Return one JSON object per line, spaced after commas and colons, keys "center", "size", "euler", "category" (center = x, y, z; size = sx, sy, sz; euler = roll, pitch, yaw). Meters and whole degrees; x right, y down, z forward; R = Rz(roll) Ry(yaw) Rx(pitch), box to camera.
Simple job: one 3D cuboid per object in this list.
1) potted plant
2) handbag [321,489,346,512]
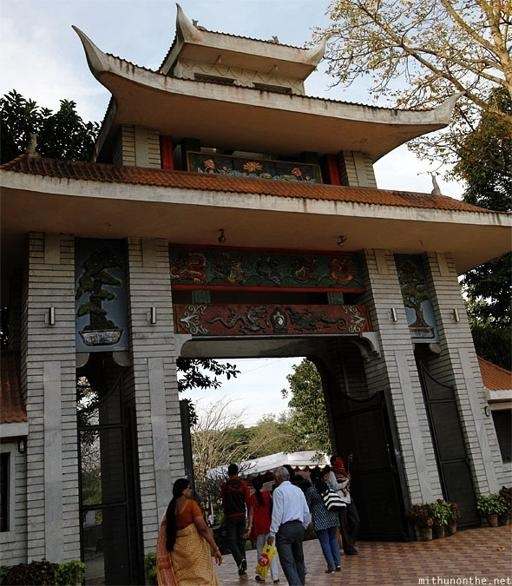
{"center": [3.882, 4.183, 10.717], "size": [2.432, 0.718, 0.468], "euler": [1, -22, -33], "category": "potted plant"}
{"center": [1.090, 2.941, 8.081], "size": [0.270, 0.293, 0.266], "euler": [-15, -18, 12], "category": "handbag"}
